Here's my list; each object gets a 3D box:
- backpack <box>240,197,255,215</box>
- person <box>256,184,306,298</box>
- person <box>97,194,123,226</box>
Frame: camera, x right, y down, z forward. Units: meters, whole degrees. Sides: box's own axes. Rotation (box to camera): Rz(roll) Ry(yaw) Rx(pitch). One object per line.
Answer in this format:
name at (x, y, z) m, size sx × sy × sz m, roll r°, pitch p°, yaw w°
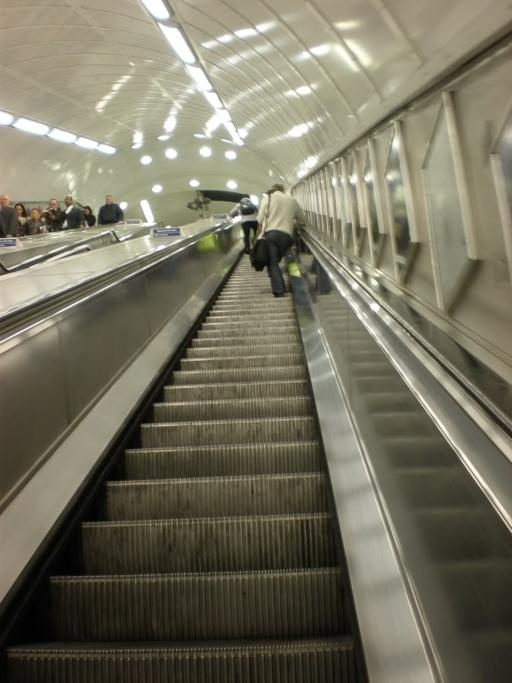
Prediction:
backpack at (-0.216, -3.357, 10.617) m, size 0.381 × 0.456 × 0.748 m, roll -7°, pitch 14°, yaw 0°
person at (0.417, -1.658, 6.741) m, size 0.718 × 1.642 × 1.658 m, roll -4°, pitch 14°, yaw 9°
person at (-4.754, -4.242, 13.751) m, size 0.689 × 1.049 × 1.848 m, roll -11°, pitch 15°, yaw -17°
